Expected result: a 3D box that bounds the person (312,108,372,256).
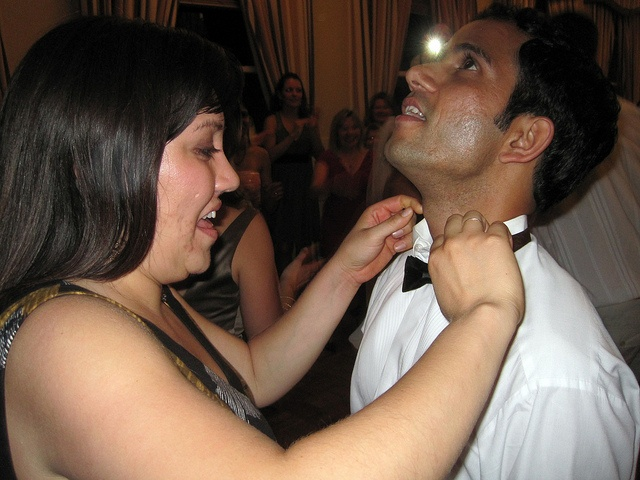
[{"bbox_3d":[0.233,-0.272,4.509,0.482,1.524,0.507,-7,19,-13],"label":"person"}]
